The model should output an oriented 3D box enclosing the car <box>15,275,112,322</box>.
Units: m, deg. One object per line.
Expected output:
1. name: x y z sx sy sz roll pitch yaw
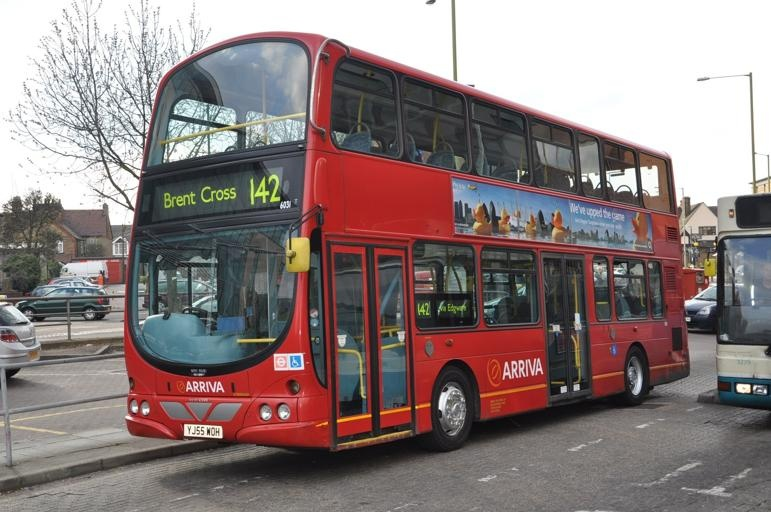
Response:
1. car: -19.747 2.527 39.988 4.215 1.906 2.306 2 1 17
